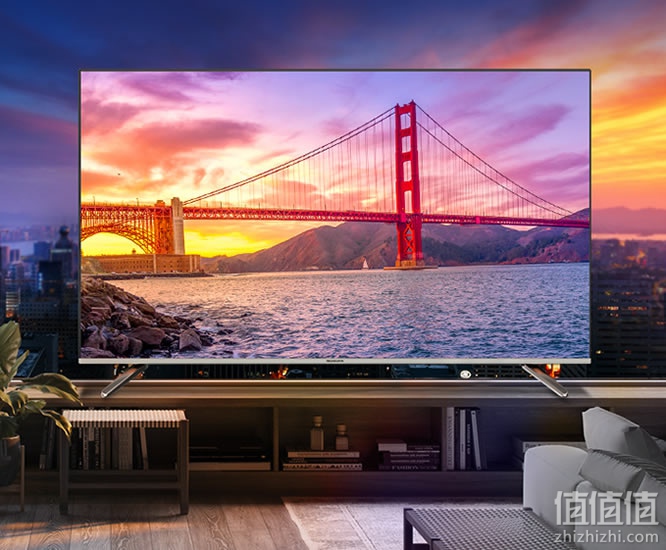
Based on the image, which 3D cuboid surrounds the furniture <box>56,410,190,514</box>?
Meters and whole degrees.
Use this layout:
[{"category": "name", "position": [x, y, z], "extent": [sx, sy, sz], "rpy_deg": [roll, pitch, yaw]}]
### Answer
[{"category": "furniture", "position": [-1.156, 1.045, 4.212], "extent": [0.720, 0.472, 0.507], "rpy_deg": [1, -8, -9]}]
